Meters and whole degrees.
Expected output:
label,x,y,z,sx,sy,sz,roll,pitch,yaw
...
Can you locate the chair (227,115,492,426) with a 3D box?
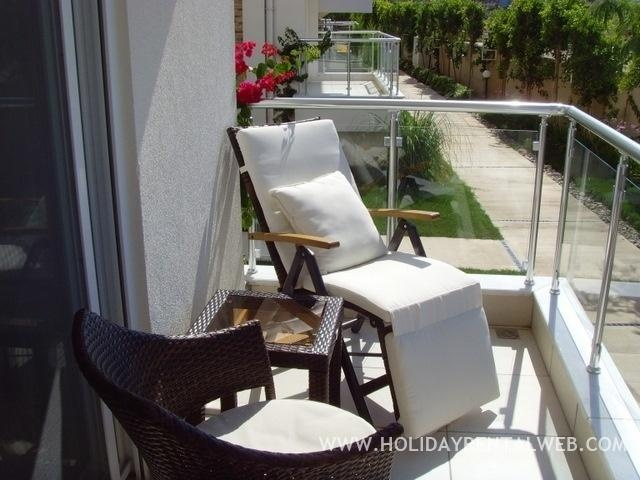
label,x,y,z,sx,sy,sz,roll,pitch,yaw
chair,0.218,0.104,2.828,0.860,1.462,1.424,-12,17,-38
